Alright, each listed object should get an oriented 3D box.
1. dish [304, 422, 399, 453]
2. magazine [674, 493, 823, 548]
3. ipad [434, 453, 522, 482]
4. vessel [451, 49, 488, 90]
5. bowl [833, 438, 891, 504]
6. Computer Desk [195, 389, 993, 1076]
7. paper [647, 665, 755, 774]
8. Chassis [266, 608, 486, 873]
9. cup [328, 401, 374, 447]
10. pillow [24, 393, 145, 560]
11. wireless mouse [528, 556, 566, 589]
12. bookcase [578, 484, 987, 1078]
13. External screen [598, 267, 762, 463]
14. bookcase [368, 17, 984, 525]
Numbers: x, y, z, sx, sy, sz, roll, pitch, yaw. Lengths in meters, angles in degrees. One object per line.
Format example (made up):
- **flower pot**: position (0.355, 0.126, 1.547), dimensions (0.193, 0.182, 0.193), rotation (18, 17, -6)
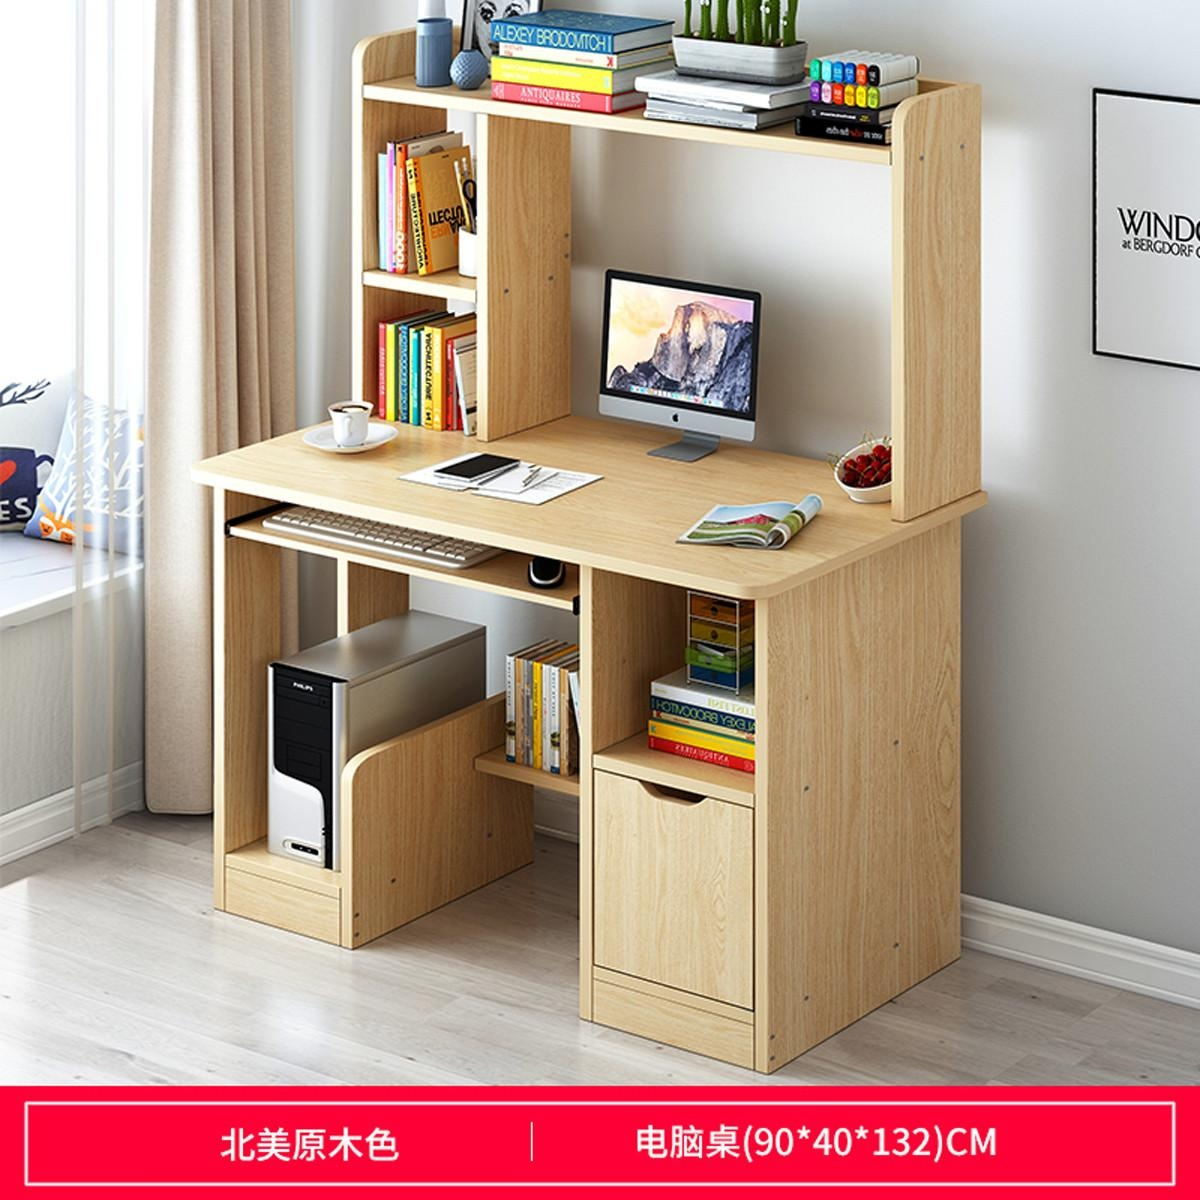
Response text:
- **dish**: position (-0.478, -0.298, 2.414), dimensions (0.105, 0.015, 0.101), rotation (-2, 21, 2)
- **magazine**: position (0.236, -0.123, 1.991), dimensions (0.186, 0.061, 0.240), rotation (4, 11, 17)
- **ipad**: position (-0.216, -0.233, 2.274), dimensions (0.068, 0.012, 0.096), rotation (15, 25, 26)
- **vessel**: position (-0.233, -0.948, 2.302), dimensions (0.078, 0.065, 0.076), rotation (4, 29, 5)
- **bowl**: position (0.440, -0.207, 2.109), dimensions (0.107, 0.049, 0.103), rotation (-13, 33, 9)
- **Computer Desk**: position (-0.088, 0.228, 2.392), dimensions (1.223, 0.794, 0.656), rotation (7, 12, 34)
- **paper**: position (0.159, 0.201, 2.000), dimensions (0.184, 0.114, 0.028), rotation (9, 13, 40)
- **Chassis**: position (-0.423, 0.286, 2.427), dimensions (0.230, 0.390, 0.447), rotation (15, 24, 33)
- **cup**: position (-0.458, -0.329, 2.395), dimensions (0.083, 0.070, 0.092), rotation (-1, 6, 1)
- **pillow**: position (-1.126, -0.280, 2.788), dimensions (0.308, 0.332, 0.133), rotation (14, 10, 3)
- **wireless mouse**: position (-0.088, -0.043, 2.112), dimensions (0.044, 0.019, 0.059), rotation (3, 36, 2)
- **bookcase**: position (0.294, 0.288, 2.169), dimensions (0.368, 0.839, 0.666), rotation (10, 13, 41)
- **External screen**: position (0.158, -0.426, 2.402), dimensions (0.356, 0.318, 0.100), rotation (17, 28, 37)
- **bookcase**: position (0.090, -0.588, 2.285), dimensions (1.109, 0.644, 0.272), rotation (12, 22, 34)
